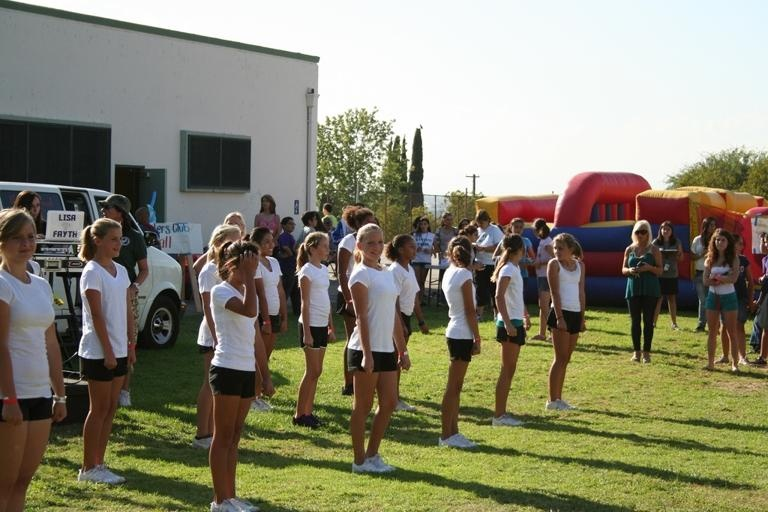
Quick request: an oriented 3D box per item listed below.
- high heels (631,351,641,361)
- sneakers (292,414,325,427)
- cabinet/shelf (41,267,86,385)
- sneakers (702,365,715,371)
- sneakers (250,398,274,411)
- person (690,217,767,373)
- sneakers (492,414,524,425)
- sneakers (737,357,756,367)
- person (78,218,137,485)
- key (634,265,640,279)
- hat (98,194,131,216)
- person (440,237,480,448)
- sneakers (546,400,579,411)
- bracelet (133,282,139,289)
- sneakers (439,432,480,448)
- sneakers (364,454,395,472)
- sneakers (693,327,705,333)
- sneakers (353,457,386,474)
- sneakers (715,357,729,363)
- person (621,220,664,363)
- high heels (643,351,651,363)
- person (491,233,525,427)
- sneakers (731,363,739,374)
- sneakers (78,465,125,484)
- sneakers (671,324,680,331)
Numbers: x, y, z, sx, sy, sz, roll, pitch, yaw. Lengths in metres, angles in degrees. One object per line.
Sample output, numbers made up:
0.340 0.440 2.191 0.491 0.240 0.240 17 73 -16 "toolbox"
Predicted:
4.319 1.710 12.857 0.200 0.232 0.101 3 -2 37 "high heels"
-0.953 2.059 9.433 0.279 0.128 0.176 0 3 12 "sneakers"
-4.193 0.683 9.771 0.741 1.426 0.784 -3 7 -24 "cabinet/shelf"
5.360 1.849 12.454 0.077 0.084 0.179 0 -9 -8 "sneakers"
-1.618 1.981 9.987 0.304 0.157 0.148 3 1 29 "sneakers"
5.666 0.716 12.459 0.679 2.272 0.930 5 7 32 "person"
1.594 2.142 9.751 0.278 0.139 0.170 -1 -1 3 "sneakers"
6.073 1.769 12.588 0.308 0.176 0.119 2 3 7 "sneakers"
-2.862 0.966 7.665 0.498 2.649 0.480 -1 6 -20 "person"
4.180 0.269 12.437 0.067 0.146 0.172 -4 15 1 "key"
-3.529 -0.662 9.809 0.449 0.260 0.322 13 -3 -32 "hat"
0.908 1.036 8.959 0.436 2.461 0.549 2 6 5 "person"
2.457 2.080 10.445 0.299 0.149 0.177 0 -1 3 "sneakers"
-3.119 0.368 9.502 0.065 0.079 0.071 0 0 37 "bracelet"
0.874 2.221 8.982 0.301 0.149 0.200 0 -2 2 "sneakers"
-0.031 2.253 8.175 0.259 0.134 0.163 3 0 30 "sneakers"
6.379 1.492 15.247 0.234 0.195 0.099 1 -2 25 "sneakers"
-0.179 2.245 8.141 0.264 0.140 0.161 -2 1 9 "sneakers"
5.705 1.745 12.737 0.248 0.128 0.100 2 -2 3 "sneakers"
4.395 0.593 12.849 0.598 2.371 0.928 3 7 19 "person"
4.469 1.719 12.796 0.103 0.205 0.192 1 -14 -1 "high heels"
1.593 0.960 9.643 0.421 2.474 0.649 2 6 9 "person"
5.740 1.848 12.297 0.115 0.207 0.119 -6 -8 17 "sneakers"
-2.885 2.217 7.630 0.350 0.181 0.217 1 -1 3 "sneakers"
5.971 1.453 15.446 0.145 0.170 0.096 -1 0 22 "sneakers"
